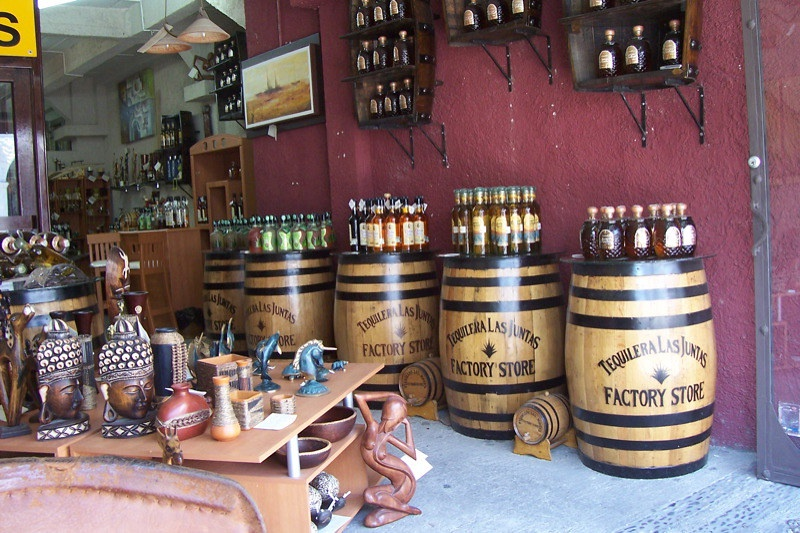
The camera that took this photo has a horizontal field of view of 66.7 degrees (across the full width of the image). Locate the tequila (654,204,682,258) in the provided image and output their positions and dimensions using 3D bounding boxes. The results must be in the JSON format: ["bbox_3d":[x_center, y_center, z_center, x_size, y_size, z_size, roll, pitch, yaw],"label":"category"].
[{"bbox_3d":[1.350,-0.181,3.053,0.129,0.251,0.208,0,12,13],"label":"tequila"}]

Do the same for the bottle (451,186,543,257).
[{"bbox_3d":[0.571,-0.269,3.631,0.524,0.391,0.402,-1,12,10],"label":"bottle"}]

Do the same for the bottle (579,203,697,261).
[{"bbox_3d":[1.219,-0.163,3.158,0.395,0.198,0.373,-2,0,0],"label":"bottle"}]

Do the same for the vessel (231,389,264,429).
[{"bbox_3d":[-0.619,0.585,2.500,0.133,0.131,0.134,3,7,26],"label":"vessel"}]

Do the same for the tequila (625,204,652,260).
[{"bbox_3d":[1.210,-0.177,3.090,0.133,0.254,0.234,2,12,22],"label":"tequila"}]

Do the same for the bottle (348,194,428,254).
[{"bbox_3d":[-0.058,-0.261,4.183,0.458,0.300,0.461,-2,5,0],"label":"bottle"}]

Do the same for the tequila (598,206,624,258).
[{"bbox_3d":[1.124,-0.181,3.176,0.150,0.277,0.152,-5,6,-9],"label":"tequila"}]

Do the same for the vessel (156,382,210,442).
[{"bbox_3d":[-0.878,0.572,2.463,0.207,0.210,0.158,-10,13,-31],"label":"vessel"}]

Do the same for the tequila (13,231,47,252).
[{"bbox_3d":[-2.199,-0.163,3.614,0.131,0.129,0.133,0,-2,18],"label":"tequila"}]

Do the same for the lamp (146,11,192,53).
[{"bbox_3d":[-2.026,-1.982,5.267,0.338,0.358,0.339,-4,9,-9],"label":"lamp"}]

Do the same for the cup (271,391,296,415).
[{"bbox_3d":[-0.496,0.574,2.582,0.081,0.062,0.082,-1,6,0],"label":"cup"}]

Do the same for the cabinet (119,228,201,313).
[{"bbox_3d":[-2.432,0.112,6.499,0.480,0.937,0.511,-12,8,-14],"label":"cabinet"}]

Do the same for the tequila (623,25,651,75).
[{"bbox_3d":[1.299,-1.176,3.337,0.123,0.274,0.123,4,13,32],"label":"tequila"}]

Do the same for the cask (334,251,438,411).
[{"bbox_3d":[-0.064,0.392,4.222,0.669,0.956,0.675,-7,5,-22],"label":"cask"}]

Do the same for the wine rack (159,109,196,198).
[{"bbox_3d":[-2.991,-1.557,7.995,0.517,0.897,0.242,3,-3,19],"label":"wine rack"}]

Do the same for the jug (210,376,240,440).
[{"bbox_3d":[-0.702,0.557,2.438,0.110,0.233,0.146,-4,11,-5],"label":"jug"}]

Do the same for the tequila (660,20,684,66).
[{"bbox_3d":[1.423,-1.170,3.189,0.097,0.249,0.143,2,12,21],"label":"tequila"}]

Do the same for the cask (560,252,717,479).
[{"bbox_3d":[1.259,0.508,3.286,0.744,1.064,0.745,2,9,35],"label":"cask"}]
